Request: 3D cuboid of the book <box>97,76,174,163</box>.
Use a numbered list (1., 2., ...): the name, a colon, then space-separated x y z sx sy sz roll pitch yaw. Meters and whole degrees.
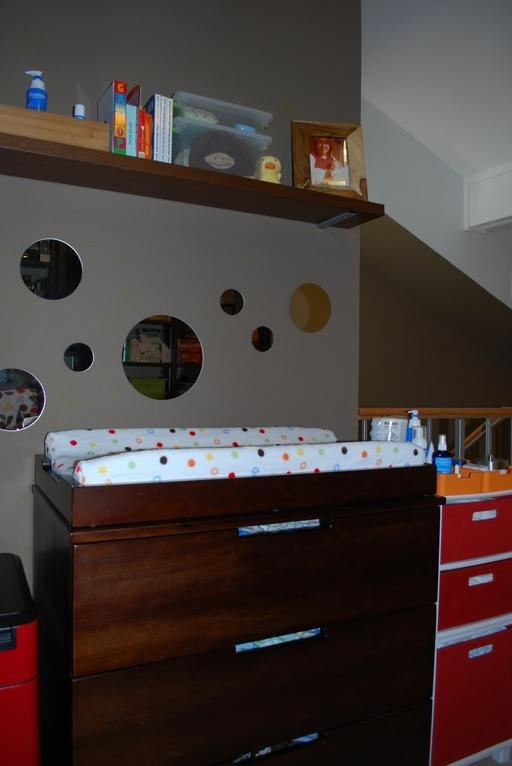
1. book: -0.316 -0.676 1.613 0.179 0.198 0.100 -3 3 -45
